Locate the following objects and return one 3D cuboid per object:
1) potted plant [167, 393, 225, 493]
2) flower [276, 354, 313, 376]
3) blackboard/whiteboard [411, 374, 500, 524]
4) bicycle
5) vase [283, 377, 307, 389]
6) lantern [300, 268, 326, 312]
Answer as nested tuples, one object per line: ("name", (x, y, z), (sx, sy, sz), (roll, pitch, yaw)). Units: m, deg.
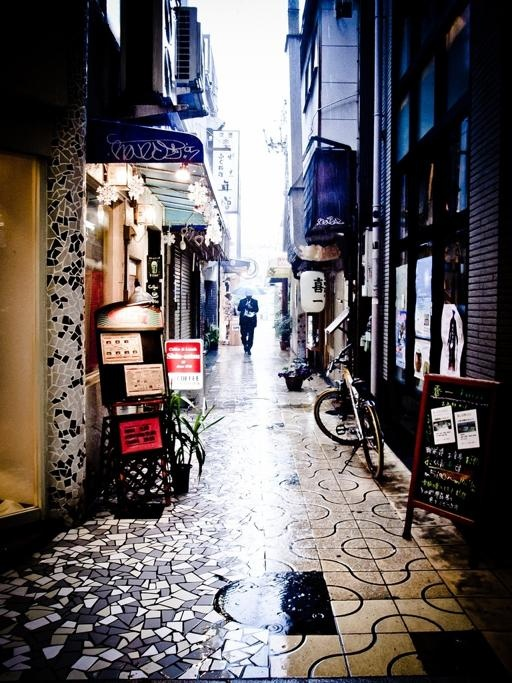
("potted plant", (-0.681, 0.972, 5.500), (0.510, 1.053, 0.588), (6, -19, 20))
("flower", (0.893, 0.640, 12.298), (0.493, 0.366, 0.528), (3, 3, 38))
("blackboard/whiteboard", (1.440, 0.883, 3.977), (0.517, 1.329, 0.038), (4, -32, 29))
("bicycle", (1.276, 1.000, 7.170), (0.532, 1.185, 2.013), (-4, 13, -4))
("vase", (0.848, 0.946, 12.089), (0.270, 0.256, 0.291), (2, -3, -26))
("lantern", (1.382, -1.244, 12.786), (0.561, 1.065, 0.568), (-10, 18, -29))
